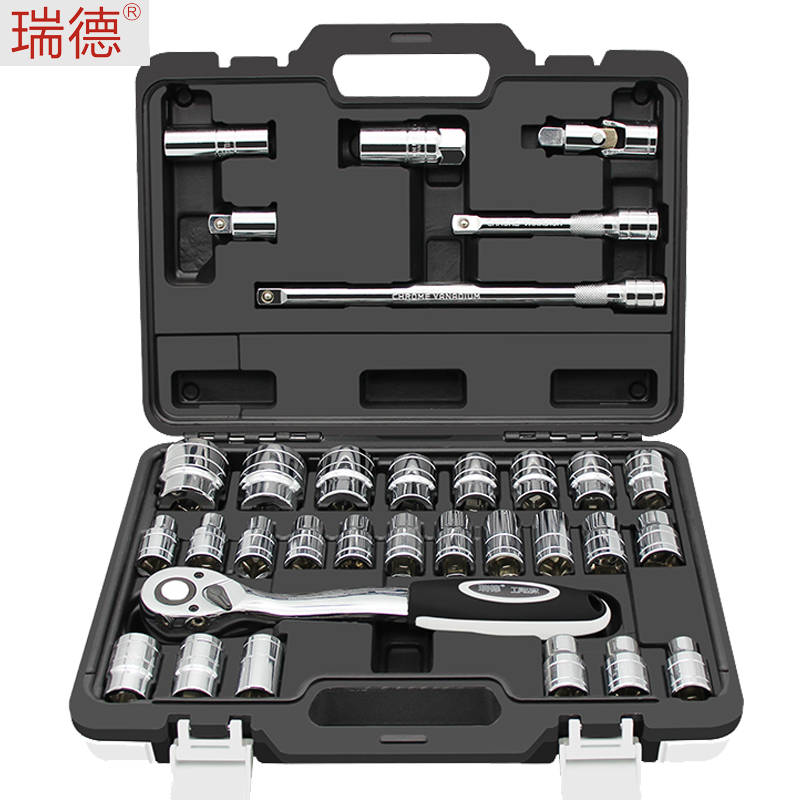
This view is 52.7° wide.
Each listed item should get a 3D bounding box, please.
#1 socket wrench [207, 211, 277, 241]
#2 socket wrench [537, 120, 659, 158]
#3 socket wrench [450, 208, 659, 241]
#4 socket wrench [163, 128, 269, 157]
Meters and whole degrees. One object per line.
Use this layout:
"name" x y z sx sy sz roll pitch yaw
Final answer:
"socket wrench" -0.547 -0.611 2.786 0.194 0.094 0.107 0 22 -3
"socket wrench" 0.678 -0.897 2.745 0.306 0.083 0.105 1 -30 0
"socket wrench" 0.552 -0.615 2.805 0.741 0.116 0.110 1 4 0
"socket wrench" -0.615 -0.874 2.792 0.416 0.125 0.122 -1 11 -1
